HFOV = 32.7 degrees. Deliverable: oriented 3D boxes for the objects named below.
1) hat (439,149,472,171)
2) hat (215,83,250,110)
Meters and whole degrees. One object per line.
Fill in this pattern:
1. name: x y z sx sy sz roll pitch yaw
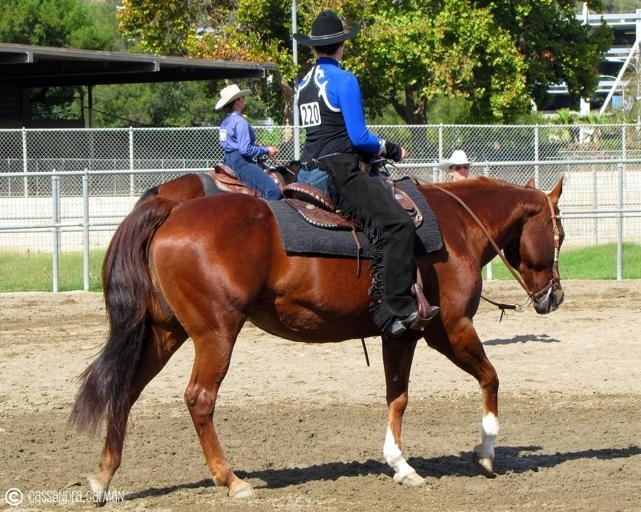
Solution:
1. hat: 1.958 -1.414 15.898 0.448 0.235 0.584 -1 -2 4
2. hat: -1.243 -2.448 16.205 0.523 0.205 0.430 -41 10 -31
